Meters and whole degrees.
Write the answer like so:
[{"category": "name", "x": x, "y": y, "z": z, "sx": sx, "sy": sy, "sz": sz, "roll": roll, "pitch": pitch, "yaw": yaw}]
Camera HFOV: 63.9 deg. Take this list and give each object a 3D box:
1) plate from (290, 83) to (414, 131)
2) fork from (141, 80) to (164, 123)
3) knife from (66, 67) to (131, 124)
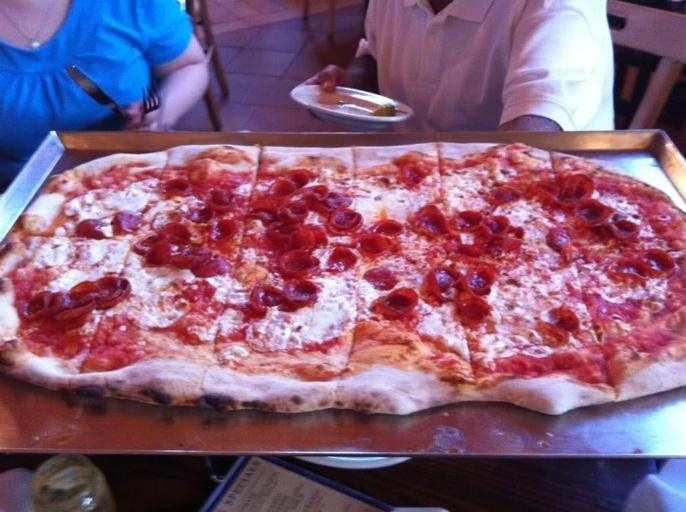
[{"category": "plate", "x": 0.043, "y": -0.678, "z": 2.563, "sx": 0.442, "sy": 0.068, "sz": 0.312, "roll": 12, "pitch": 35, "yaw": 8}, {"category": "fork", "x": -0.875, "y": -0.729, "z": 2.535, "sx": 0.029, "sy": 0.089, "sz": 0.158, "roll": 16, "pitch": 94, "yaw": 39}, {"category": "knife", "x": -1.061, "y": -0.695, "z": 2.386, "sx": 0.174, "sy": 0.263, "sz": 0.055, "roll": 9, "pitch": 55, "yaw": 4}]
